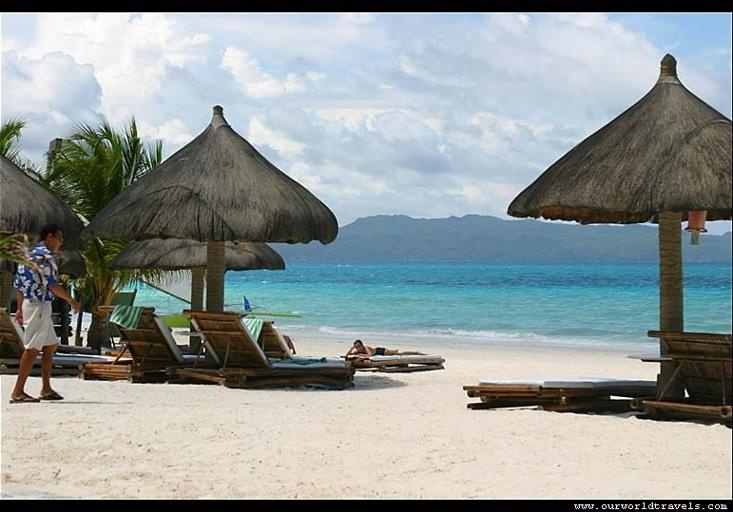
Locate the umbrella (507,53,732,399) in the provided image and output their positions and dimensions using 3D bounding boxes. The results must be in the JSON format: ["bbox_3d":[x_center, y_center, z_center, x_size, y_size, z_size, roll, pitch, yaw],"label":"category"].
[{"bbox_3d":[3.782,-0.517,12.306,2.591,4.927,2.749,0,-4,-10],"label":"umbrella"}]

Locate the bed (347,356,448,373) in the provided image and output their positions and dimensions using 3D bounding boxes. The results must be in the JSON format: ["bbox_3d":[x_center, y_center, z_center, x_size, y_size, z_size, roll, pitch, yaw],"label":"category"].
[{"bbox_3d":[0.698,2.158,17.689,2.129,0.304,0.946,3,-5,-42],"label":"bed"}]

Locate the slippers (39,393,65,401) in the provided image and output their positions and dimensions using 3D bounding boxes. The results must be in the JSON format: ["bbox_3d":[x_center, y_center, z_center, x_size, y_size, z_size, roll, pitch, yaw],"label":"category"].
[{"bbox_3d":[-4.276,1.899,11.959,0.252,0.081,0.124,-1,-2,4],"label":"slippers"}]

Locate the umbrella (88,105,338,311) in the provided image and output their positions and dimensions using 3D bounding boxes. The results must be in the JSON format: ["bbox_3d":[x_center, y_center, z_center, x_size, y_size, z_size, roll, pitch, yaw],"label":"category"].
[{"bbox_3d":[-2.527,-1.032,15.243,4.404,3.123,4.028,-4,13,-30],"label":"umbrella"}]
